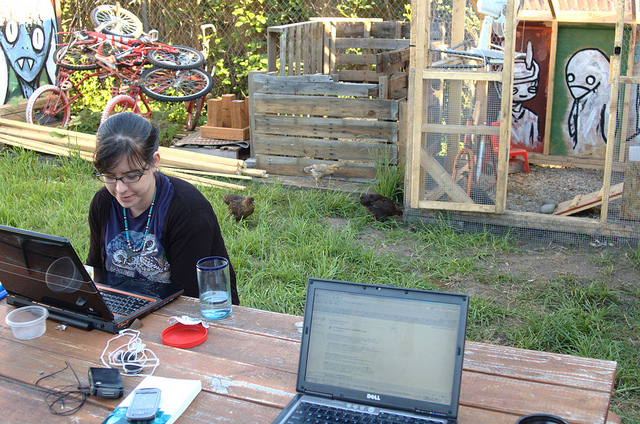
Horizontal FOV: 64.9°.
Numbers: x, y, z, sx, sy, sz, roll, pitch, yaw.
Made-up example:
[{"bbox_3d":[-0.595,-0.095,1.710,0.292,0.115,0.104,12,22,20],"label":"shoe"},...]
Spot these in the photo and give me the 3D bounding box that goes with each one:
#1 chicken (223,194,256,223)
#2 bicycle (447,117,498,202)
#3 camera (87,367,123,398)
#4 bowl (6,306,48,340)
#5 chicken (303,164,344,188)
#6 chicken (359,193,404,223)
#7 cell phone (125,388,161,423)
[{"bbox_3d":[-0.994,-0.112,6.081,0.419,0.328,0.209,32,32,21],"label":"chicken"},{"bbox_3d":[1.776,-0.592,5.818,0.563,0.981,0.289,6,12,29],"label":"bicycle"},{"bbox_3d":[-0.953,0.743,2.215,0.138,0.055,0.188,11,7,-36],"label":"camera"},{"bbox_3d":[-1.454,0.530,2.552,0.180,0.155,0.188,1,14,0],"label":"bowl"},{"bbox_3d":[0.026,-0.545,7.321,0.396,0.311,0.438,9,12,37],"label":"chicken"},{"bbox_3d":[0.771,-0.051,6.317,0.535,0.326,0.233,2,10,7],"label":"chicken"},{"bbox_3d":[-0.729,0.788,2.064,0.116,0.084,0.119,-1,10,-8],"label":"cell phone"}]
